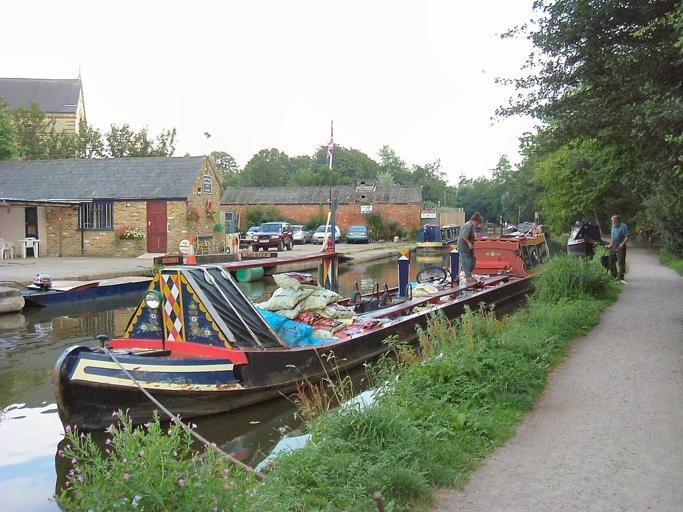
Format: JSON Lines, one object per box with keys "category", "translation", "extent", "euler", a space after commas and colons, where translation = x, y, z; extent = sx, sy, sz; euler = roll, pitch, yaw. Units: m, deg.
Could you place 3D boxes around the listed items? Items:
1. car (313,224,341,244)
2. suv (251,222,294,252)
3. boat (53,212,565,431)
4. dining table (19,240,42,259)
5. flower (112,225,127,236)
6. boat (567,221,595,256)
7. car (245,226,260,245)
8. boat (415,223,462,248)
{"category": "car", "translation": [-1.497, -1.798, 49.979], "extent": [1.412, 1.388, 2.639], "euler": [0, 1, 12]}
{"category": "suv", "translation": [-4.164, -1.268, 37.484], "extent": [1.266, 1.211, 2.512], "euler": [-1, -3, 11]}
{"category": "boat", "translation": [0.383, 1.135, 12.394], "extent": [3.286, 3.168, 12.051], "euler": [0, 2, 35]}
{"category": "dining table", "translation": [-16.016, -0.511, 31.536], "extent": [1.029, 1.198, 1.074], "euler": [0, -6, -6]}
{"category": "flower", "translation": [-11.807, -1.357, 32.718], "extent": [0.585, 0.632, 0.577], "euler": [4, 8, -6]}
{"category": "boat", "translation": [7.721, -0.516, 19.913], "extent": [0.743, 0.975, 2.864], "euler": [-1, 5, 20]}
{"category": "car", "translation": [-6.300, -1.548, 42.763], "extent": [1.284, 1.185, 2.583], "euler": [-1, 0, -5]}
{"category": "boat", "translation": [6.663, -1.490, 42.612], "extent": [1.337, 1.681, 6.219], "euler": [7, 10, 22]}
